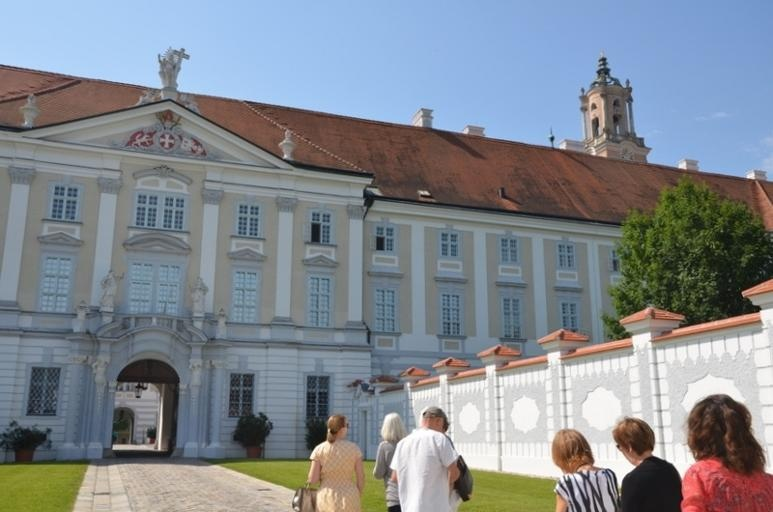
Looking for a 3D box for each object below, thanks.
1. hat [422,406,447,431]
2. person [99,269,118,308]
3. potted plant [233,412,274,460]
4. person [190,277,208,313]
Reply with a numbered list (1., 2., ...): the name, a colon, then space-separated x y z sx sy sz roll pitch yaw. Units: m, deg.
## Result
1. hat: 0.902 2.919 13.693 0.505 0.470 0.374 -4 -2 -17
2. person: -13.389 1.628 36.559 0.771 2.127 0.957 4 -15 -18
3. potted plant: -6.529 8.889 37.167 2.312 2.408 1.893 2 -27 -9
4. person: -9.346 2.086 37.809 0.754 1.973 0.700 4 -15 -15
